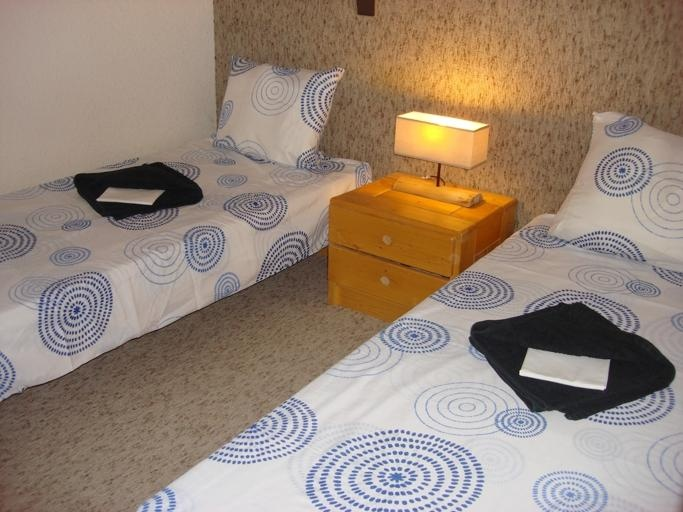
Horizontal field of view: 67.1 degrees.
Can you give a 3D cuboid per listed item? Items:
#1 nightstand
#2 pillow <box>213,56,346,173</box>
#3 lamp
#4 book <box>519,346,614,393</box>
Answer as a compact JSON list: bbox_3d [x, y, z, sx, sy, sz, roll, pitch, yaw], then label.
[{"bbox_3d":[0.306,-0.071,2.711,1.002,0.697,0.812,16,25,38],"label":"nightstand"},{"bbox_3d":[-0.352,-0.848,3.146,0.820,0.500,0.285,15,33,26],"label":"pillow"},{"bbox_3d":[0.529,-0.500,2.652,0.550,0.411,0.206,16,33,32],"label":"lamp"},{"bbox_3d":[0.634,0.318,1.447,0.174,0.023,0.115,12,27,22],"label":"book"}]
